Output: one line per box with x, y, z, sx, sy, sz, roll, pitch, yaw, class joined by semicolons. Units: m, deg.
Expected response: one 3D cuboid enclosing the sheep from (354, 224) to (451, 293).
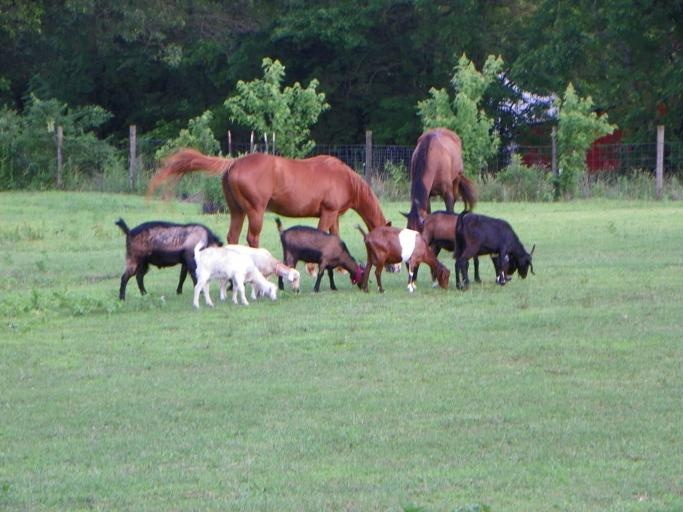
1.192;0.100;25.143;1.830;1.424;0.590;5;-2;-9;sheep

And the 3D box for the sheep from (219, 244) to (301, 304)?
-1.516;0.265;25.106;1.691;1.046;0.436;18;30;32;sheep

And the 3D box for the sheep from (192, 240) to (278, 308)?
-2.079;0.337;24.289;1.459;1.169;0.645;-1;0;-12;sheep
